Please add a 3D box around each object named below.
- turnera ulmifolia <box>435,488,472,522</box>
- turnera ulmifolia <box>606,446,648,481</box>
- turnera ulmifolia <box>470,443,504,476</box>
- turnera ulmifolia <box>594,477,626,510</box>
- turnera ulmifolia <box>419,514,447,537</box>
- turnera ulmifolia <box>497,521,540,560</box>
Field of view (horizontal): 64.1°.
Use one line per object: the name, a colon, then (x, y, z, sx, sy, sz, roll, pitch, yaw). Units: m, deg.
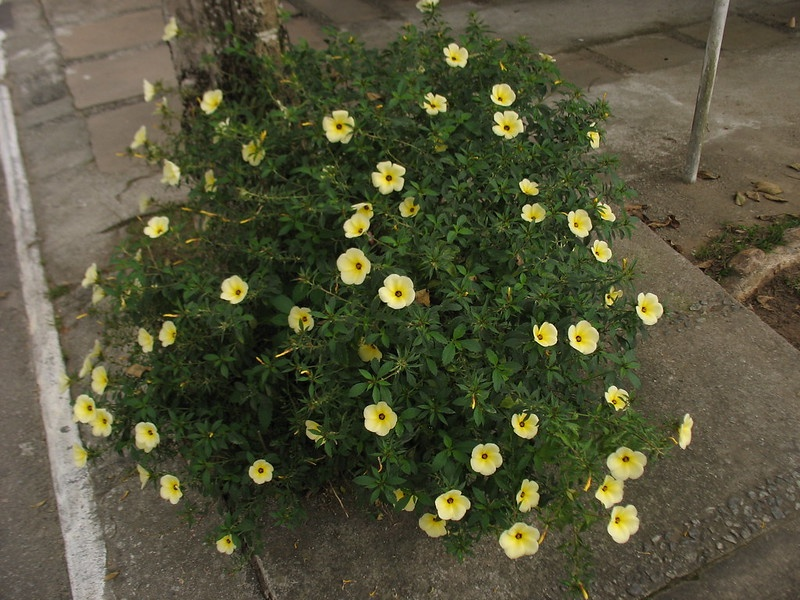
turnera ulmifolia: (0.252, 0.949, 3.004, 0.149, 0.073, 0.146, -42, 95, 2)
turnera ulmifolia: (1.031, 0.755, 2.940, 0.170, 0.145, 0.102, 2, 50, 7)
turnera ulmifolia: (0.408, 0.768, 3.026, 0.151, 0.185, 0.133, 5, 50, 9)
turnera ulmifolia: (0.959, 0.903, 2.974, 0.154, 0.163, 0.065, 10, 4, -19)
turnera ulmifolia: (0.170, 1.160, 3.221, 0.128, 0.273, 0.087, 1, 50, 7)
turnera ulmifolia: (0.550, 1.083, 2.915, 0.166, 0.174, 0.082, 12, 10, -7)
